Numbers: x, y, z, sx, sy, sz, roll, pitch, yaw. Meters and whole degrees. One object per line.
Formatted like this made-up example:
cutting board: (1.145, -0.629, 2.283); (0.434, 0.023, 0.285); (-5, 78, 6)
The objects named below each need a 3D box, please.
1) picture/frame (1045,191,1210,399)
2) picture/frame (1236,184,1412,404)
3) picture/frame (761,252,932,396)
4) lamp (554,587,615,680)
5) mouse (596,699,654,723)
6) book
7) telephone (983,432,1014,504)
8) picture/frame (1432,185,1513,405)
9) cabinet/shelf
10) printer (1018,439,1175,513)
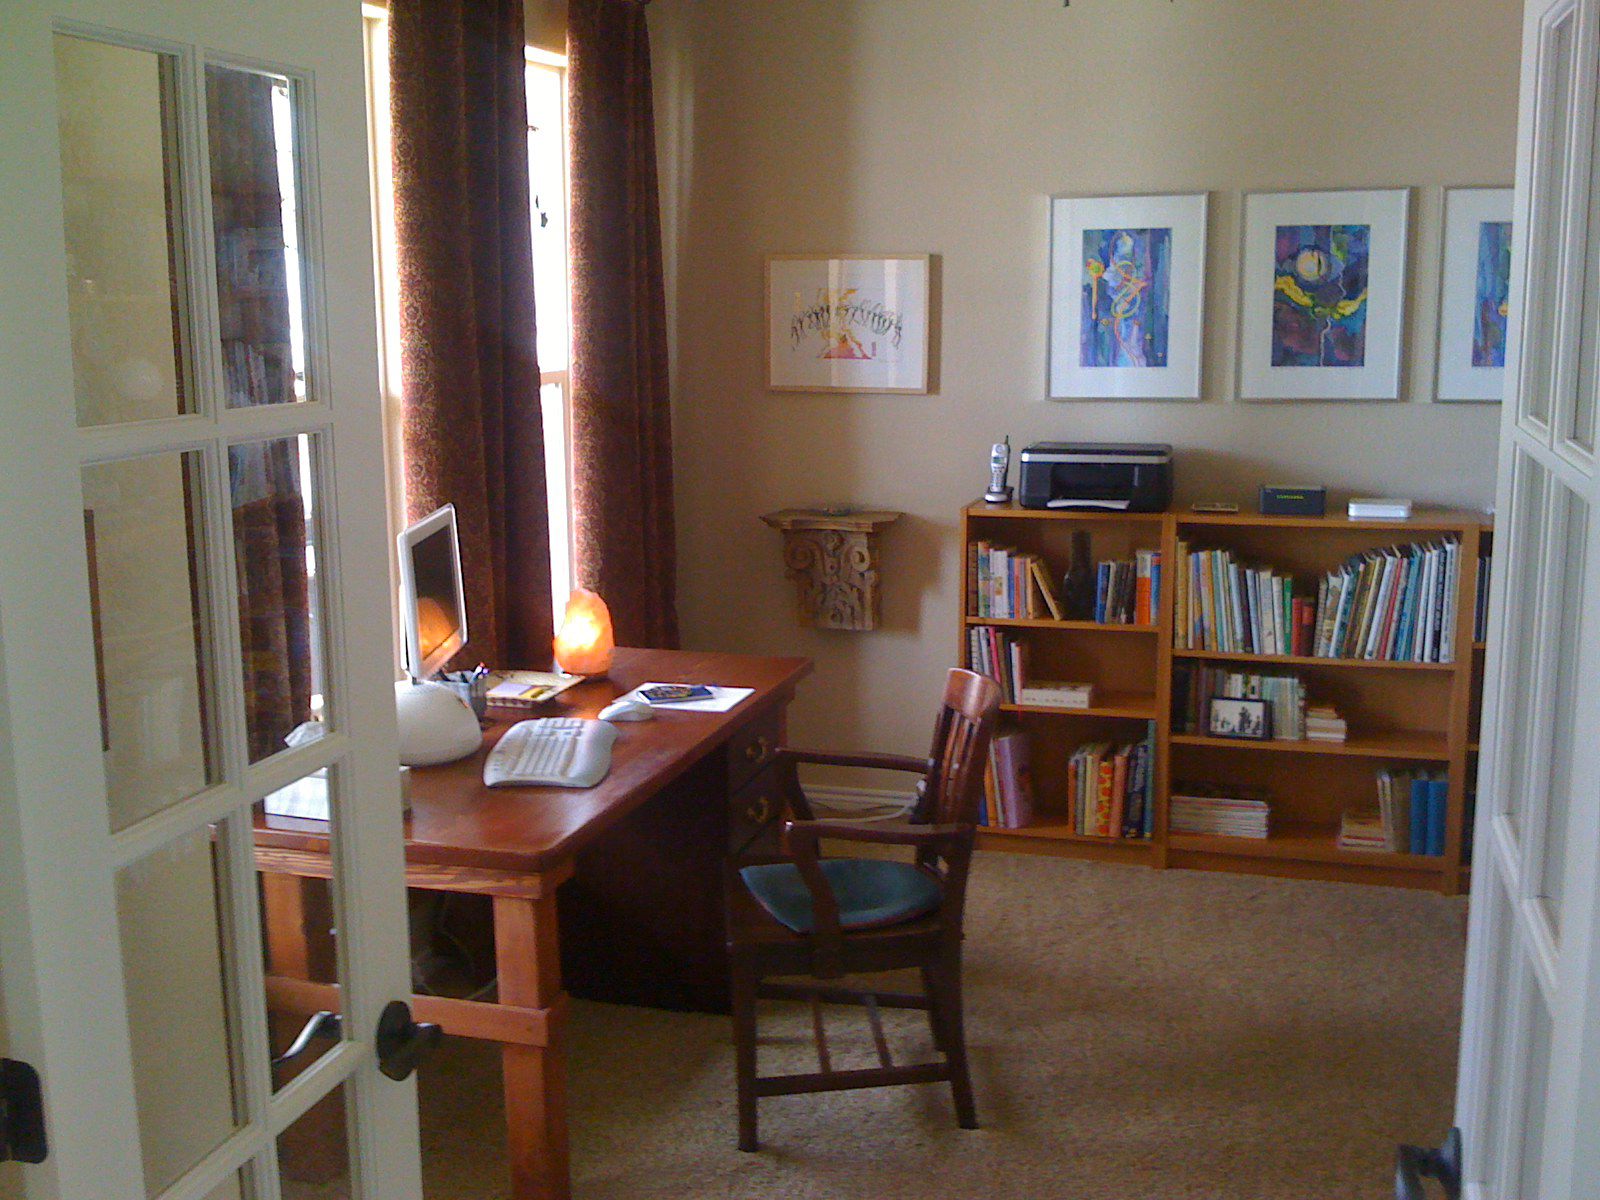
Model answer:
picture/frame: (1.183, -1.121, 4.657); (0.687, 0.926, 0.058); (1, 4, 13)
picture/frame: (1.817, -1.084, 4.494); (0.685, 0.971, 0.045); (2, 7, 18)
picture/frame: (0.200, -1.072, 4.947); (0.511, 0.431, 0.022); (3, 12, 17)
lamp: (-0.622, 0.089, 3.811); (0.165, 0.249, 0.164); (7, 14, 16)
mouse: (-0.452, 0.287, 3.403); (0.085, 0.036, 0.071); (-4, 9, 3)
book: (1.482, 0.329, 4.529); (1.073, 0.817, 0.264); (1, 4, 12)
telephone: (0.725, -0.487, 4.803); (0.095, 0.219, 0.275); (1, 13, 9)
picture/frame: (2.238, -1.026, 4.380); (0.222, 0.706, 0.128); (5, 14, 24)
cabinet/shelf: (1.477, 0.285, 4.619); (1.710, 1.238, 0.461); (3, 14, 14)
printer: (1.018, -0.429, 4.537); (0.506, 0.215, 0.179); (2, 13, 10)
